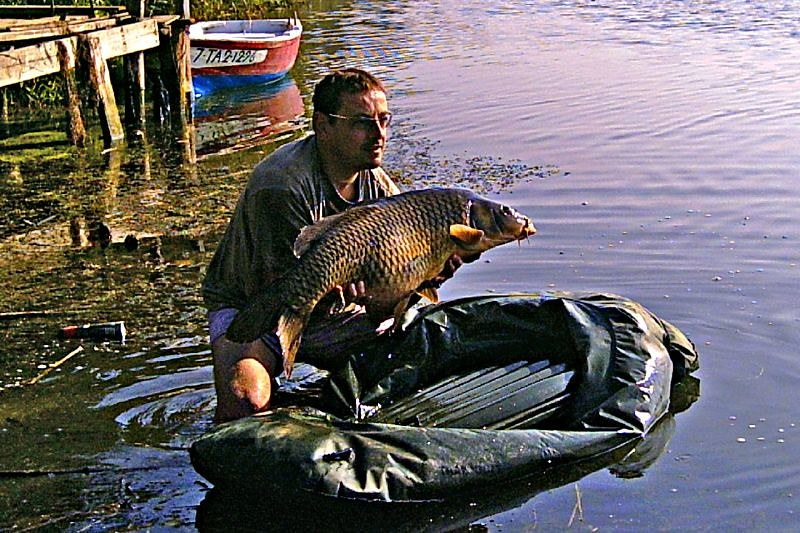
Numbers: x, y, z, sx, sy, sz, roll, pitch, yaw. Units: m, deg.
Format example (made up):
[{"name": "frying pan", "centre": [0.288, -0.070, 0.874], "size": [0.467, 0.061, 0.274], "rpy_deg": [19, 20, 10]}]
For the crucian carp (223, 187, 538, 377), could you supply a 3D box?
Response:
[{"name": "crucian carp", "centre": [-0.128, -0.018, 9.417], "size": [2.983, 1.177, 0.830], "rpy_deg": [-21, 17, -29]}]
